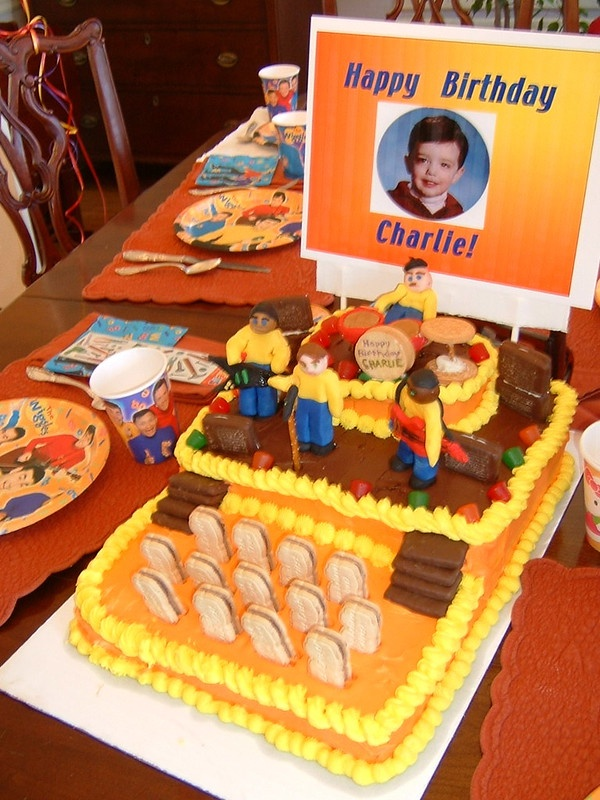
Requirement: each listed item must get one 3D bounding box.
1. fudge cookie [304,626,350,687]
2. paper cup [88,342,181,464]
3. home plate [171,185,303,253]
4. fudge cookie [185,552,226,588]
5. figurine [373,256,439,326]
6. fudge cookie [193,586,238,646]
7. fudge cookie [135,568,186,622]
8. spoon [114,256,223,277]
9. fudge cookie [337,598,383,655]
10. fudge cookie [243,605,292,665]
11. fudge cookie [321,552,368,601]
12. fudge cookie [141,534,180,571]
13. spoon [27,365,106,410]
[{"bbox_3d":[0.037,0.345,0.827,0.058,0.080,0.030,10,25,34],"label":"fudge cookie"},{"bbox_3d":[-0.327,0.019,1.262,0.134,0.178,0.132,-7,36,5],"label":"paper cup"},{"bbox_3d":[-0.193,-0.582,2.131,0.439,0.053,0.440,-8,-11,17],"label":"home plate"},{"bbox_3d":[-0.150,0.270,0.979,0.048,0.064,0.023,27,63,19],"label":"fudge cookie"},{"bbox_3d":[0.225,-0.218,1.303,0.127,0.150,0.097,12,7,9],"label":"figurine"},{"bbox_3d":[-0.123,0.318,0.921,0.058,0.085,0.027,4,29,29],"label":"fudge cookie"},{"bbox_3d":[-0.197,0.299,0.979,0.088,0.087,0.024,-6,34,47],"label":"fudge cookie"},{"bbox_3d":[-0.389,-0.411,1.903,0.299,0.051,0.051,3,62,5],"label":"spoon"},{"bbox_3d":[0.084,0.314,0.854,0.059,0.078,0.025,11,28,28],"label":"fudge cookie"},{"bbox_3d":[-0.041,0.341,0.883,0.057,0.083,0.029,5,27,40],"label":"fudge cookie"},{"bbox_3d":[0.068,0.270,0.931,0.059,0.087,0.029,9,37,20],"label":"fudge cookie"},{"bbox_3d":[-0.228,0.250,1.007,0.053,0.081,0.029,10,47,28],"label":"fudge cookie"},{"bbox_3d":[-0.544,-0.027,1.448,0.169,0.023,0.061,22,58,3],"label":"spoon"}]
